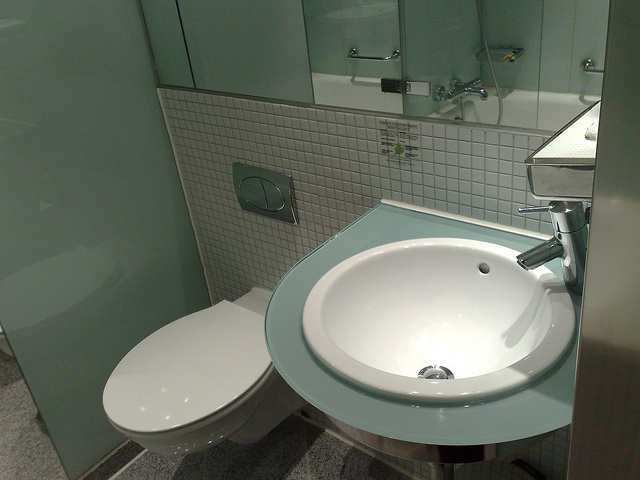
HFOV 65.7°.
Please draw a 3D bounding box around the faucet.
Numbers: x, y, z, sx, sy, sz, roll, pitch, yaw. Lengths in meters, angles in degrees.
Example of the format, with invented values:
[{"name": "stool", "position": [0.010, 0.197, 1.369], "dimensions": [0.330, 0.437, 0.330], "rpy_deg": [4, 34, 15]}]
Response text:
[{"name": "faucet", "position": [0.423, 0.013, 0.895], "dimensions": [0.138, 0.187, 0.066], "rpy_deg": [-25, 30, -6]}]
